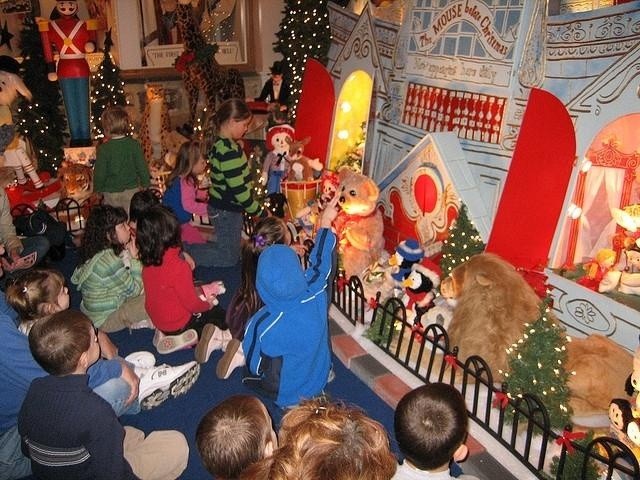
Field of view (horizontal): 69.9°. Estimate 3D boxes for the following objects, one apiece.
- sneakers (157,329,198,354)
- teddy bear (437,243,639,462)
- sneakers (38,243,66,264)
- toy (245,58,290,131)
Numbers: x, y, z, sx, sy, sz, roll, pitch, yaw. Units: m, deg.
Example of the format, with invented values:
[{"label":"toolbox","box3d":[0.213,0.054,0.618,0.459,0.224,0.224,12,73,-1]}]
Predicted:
[{"label":"sneakers","box3d":[-1.512,1.040,4.757,0.247,0.200,0.343,5,11,41]},{"label":"teddy bear","box3d":[1.833,1.076,4.347,1.672,0.700,1.268,34,51,9]},{"label":"sneakers","box3d":[-3.814,0.201,6.414,0.217,0.257,0.283,0,61,-7]},{"label":"toy","box3d":[-1.099,-3.034,10.014,0.603,1.435,0.754,9,26,18]}]
